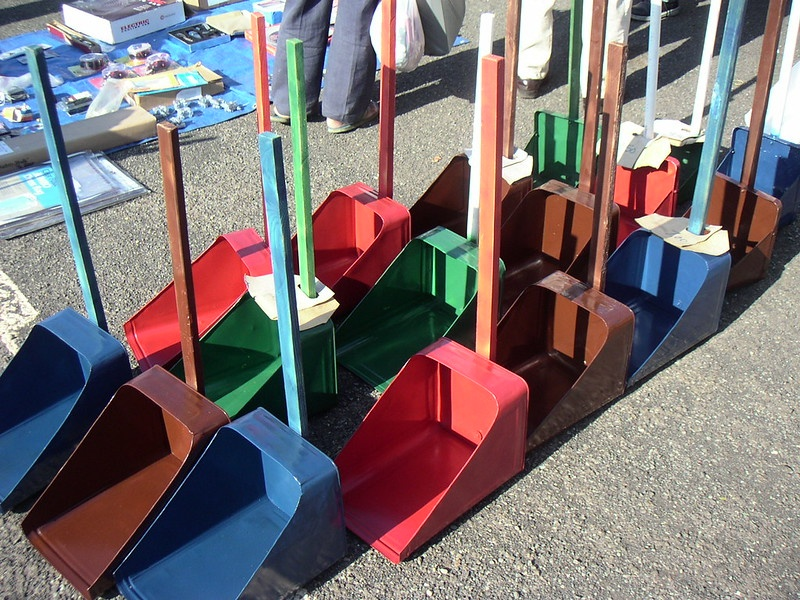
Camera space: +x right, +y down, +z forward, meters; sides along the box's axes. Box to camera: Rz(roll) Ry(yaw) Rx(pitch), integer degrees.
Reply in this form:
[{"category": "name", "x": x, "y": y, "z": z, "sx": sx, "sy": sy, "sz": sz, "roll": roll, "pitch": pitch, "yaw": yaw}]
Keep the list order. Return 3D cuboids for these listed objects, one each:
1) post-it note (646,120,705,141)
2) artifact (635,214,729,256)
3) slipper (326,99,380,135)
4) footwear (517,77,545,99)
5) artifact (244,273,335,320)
[{"category": "post-it note", "x": 1.197, "y": -0.735, "z": 3.063, "sx": 0.156, "sy": 0.040, "sz": 0.158, "roll": -27, "pitch": 46, "yaw": -28}, {"category": "artifact", "x": 0.991, "y": -0.227, "z": 2.452, "sx": 0.239, "sy": 0.050, "sz": 0.165, "roll": 37, "pitch": 60, "yaw": 21}, {"category": "slipper", "x": -0.257, "y": -0.974, "z": 3.968, "sx": 0.335, "sy": 0.154, "sz": 0.146, "roll": -31, "pitch": 54, "yaw": -23}, {"category": "footwear", "x": 0.749, "y": -1.221, "z": 4.085, "sx": 0.088, "sy": 0.112, "sz": 0.155, "roll": 1, "pitch": 5, "yaw": 14}, {"category": "artifact", "x": -0.358, "y": -0.018, "z": 2.218, "sx": 0.177, "sy": 0.056, "sz": 0.177, "roll": -23, "pitch": 50, "yaw": -14}]
